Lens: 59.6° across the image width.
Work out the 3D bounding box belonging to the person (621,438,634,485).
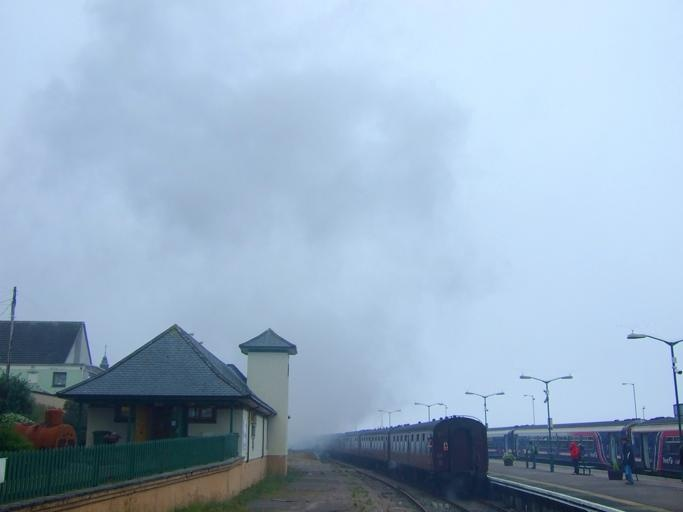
[{"bbox_3d":[14.173,10.117,29.447,0.467,2.143,1.597,-7,-19,24],"label":"person"}]
